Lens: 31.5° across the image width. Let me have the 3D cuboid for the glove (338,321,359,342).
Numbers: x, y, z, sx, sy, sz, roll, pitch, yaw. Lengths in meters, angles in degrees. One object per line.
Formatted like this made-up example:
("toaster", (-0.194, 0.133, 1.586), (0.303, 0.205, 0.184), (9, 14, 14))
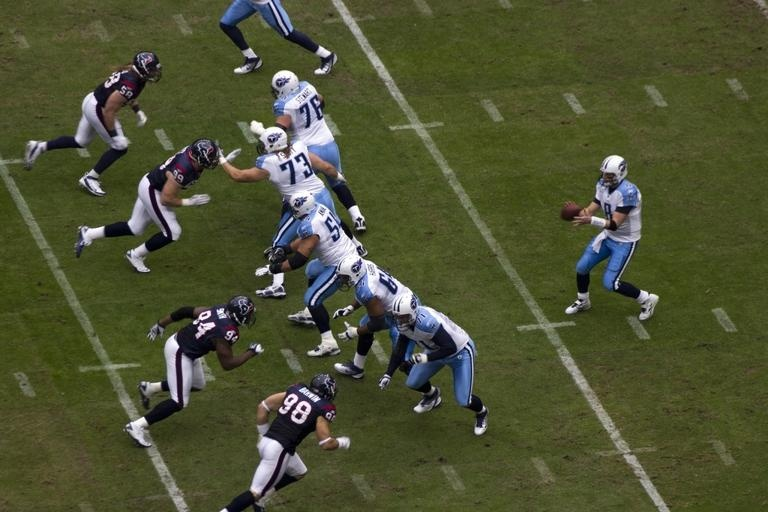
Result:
("glove", (-0.464, 1.003, 17.863), (0.223, 0.114, 0.299), (42, 36, 12))

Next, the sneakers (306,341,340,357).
("sneakers", (-0.762, 1.219, 17.869), (0.522, 0.191, 0.138), (-2, 62, -2))

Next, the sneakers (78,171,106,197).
("sneakers", (-4.137, -1.016, 19.406), (0.479, 0.201, 0.165), (29, 41, 11))

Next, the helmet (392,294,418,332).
("helmet", (0.267, 0.661, 16.793), (0.315, 0.420, 0.358), (12, 47, 1))

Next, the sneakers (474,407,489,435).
("sneakers", (1.232, 2.076, 17.106), (0.160, 0.178, 0.349), (10, 80, 25))

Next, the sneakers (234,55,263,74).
("sneakers", (-2.071, -3.051, 21.674), (0.566, 0.244, 0.160), (-17, 80, 18))

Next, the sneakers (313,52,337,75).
("sneakers", (-0.921, -3.085, 21.709), (0.304, 0.528, 0.171), (-10, 64, -43))

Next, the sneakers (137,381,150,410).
("sneakers", (-2.989, 1.730, 16.968), (0.206, 0.348, 0.138), (-1, 19, 12))

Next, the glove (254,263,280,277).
("glove", (-1.496, 0.188, 18.123), (0.573, 0.133, 0.143), (1, 42, 23))

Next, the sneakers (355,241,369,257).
("sneakers", (-0.290, -0.088, 18.482), (0.101, 0.120, 0.280), (-40, 27, -1))

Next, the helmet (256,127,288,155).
("helmet", (-1.481, -1.561, 18.381), (0.355, 0.304, 0.401), (-5, 47, -15))

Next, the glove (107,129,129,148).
("glove", (-3.718, -1.653, 19.169), (0.253, 0.248, 0.135), (-10, 16, -7))

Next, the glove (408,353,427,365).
("glove", (0.421, 1.264, 16.771), (0.189, 0.056, 0.137), (-12, 8, -37))

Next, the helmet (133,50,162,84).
("helmet", (-3.296, -2.588, 19.018), (0.367, 0.578, 0.301), (-1, 50, -11))

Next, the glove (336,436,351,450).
("glove", (-0.481, 2.229, 16.212), (0.134, 0.261, 0.078), (3, 87, 13))

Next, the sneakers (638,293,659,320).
("sneakers", (3.544, 0.681, 18.491), (0.280, 0.418, 0.164), (-2, 33, -24))

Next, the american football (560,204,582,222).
("american football", (2.472, -0.581, 18.113), (0.252, 0.294, 0.155), (-26, 84, 14))

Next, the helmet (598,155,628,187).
("helmet", (3.059, -1.135, 18.218), (0.324, 0.395, 0.301), (20, 48, 8))

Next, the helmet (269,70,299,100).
("helmet", (-1.382, -2.411, 19.293), (0.378, 0.440, 0.392), (6, 47, -4))

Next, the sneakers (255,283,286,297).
("sneakers", (-1.528, 0.476, 18.598), (0.475, 0.166, 0.144), (2, 14, -5))

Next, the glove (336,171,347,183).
("glove", (-0.603, -1.122, 19.353), (0.160, 0.127, 0.506), (39, 5, -7))

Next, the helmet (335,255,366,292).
("helmet", (-0.397, 0.186, 17.126), (0.354, 0.406, 0.352), (5, 47, -6))

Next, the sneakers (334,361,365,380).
("sneakers", (-0.412, 1.462, 17.677), (0.492, 0.191, 0.151), (14, 29, -7))

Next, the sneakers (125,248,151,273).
("sneakers", (-3.342, 0.068, 18.608), (0.244, 0.321, 0.107), (-24, 36, 27))

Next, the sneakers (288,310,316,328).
("sneakers", (-1.071, 0.840, 18.169), (0.496, 0.189, 0.151), (6, 19, 5))

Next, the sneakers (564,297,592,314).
("sneakers", (2.634, 0.680, 18.518), (0.464, 0.180, 0.137), (-14, 70, 0))

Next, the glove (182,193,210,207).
("glove", (-2.485, -0.745, 18.231), (0.445, 0.125, 0.141), (-18, 44, -19))

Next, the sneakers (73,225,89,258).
("sneakers", (-4.091, -0.188, 18.495), (0.225, 0.167, 0.442), (15, 75, -4))

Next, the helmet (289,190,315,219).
("helmet", (-1.045, -0.696, 17.757), (0.332, 0.270, 0.392), (3, 45, -7))

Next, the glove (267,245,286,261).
("glove", (-1.453, -0.027, 17.870), (0.235, 0.091, 0.207), (-20, 13, 21))
